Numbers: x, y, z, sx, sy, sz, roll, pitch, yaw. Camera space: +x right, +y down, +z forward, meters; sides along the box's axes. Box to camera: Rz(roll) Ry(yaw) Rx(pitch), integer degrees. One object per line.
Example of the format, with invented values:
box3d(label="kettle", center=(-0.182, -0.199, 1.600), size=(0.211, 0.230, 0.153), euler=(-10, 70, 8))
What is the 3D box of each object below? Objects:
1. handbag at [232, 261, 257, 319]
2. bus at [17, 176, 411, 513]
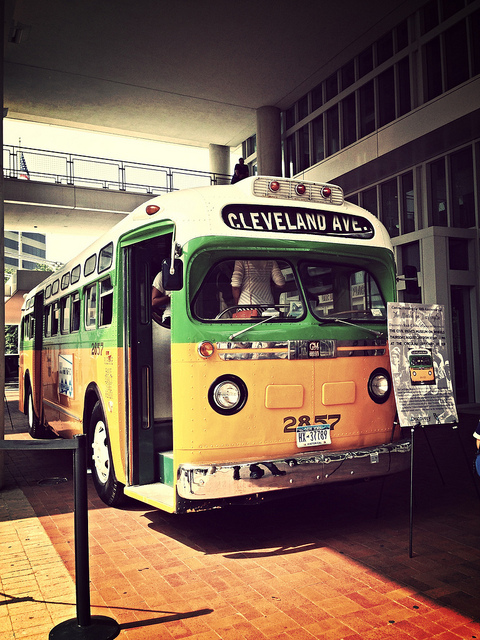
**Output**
box3d(label="handbag", center=(0.066, -0.254, 4.624), size=(0.173, 0.504, 0.354), euler=(-2, -5, 18))
box3d(label="bus", center=(-1.272, 0.496, 7.876), size=(2.467, 3.316, 7.614), euler=(2, -5, -30))
